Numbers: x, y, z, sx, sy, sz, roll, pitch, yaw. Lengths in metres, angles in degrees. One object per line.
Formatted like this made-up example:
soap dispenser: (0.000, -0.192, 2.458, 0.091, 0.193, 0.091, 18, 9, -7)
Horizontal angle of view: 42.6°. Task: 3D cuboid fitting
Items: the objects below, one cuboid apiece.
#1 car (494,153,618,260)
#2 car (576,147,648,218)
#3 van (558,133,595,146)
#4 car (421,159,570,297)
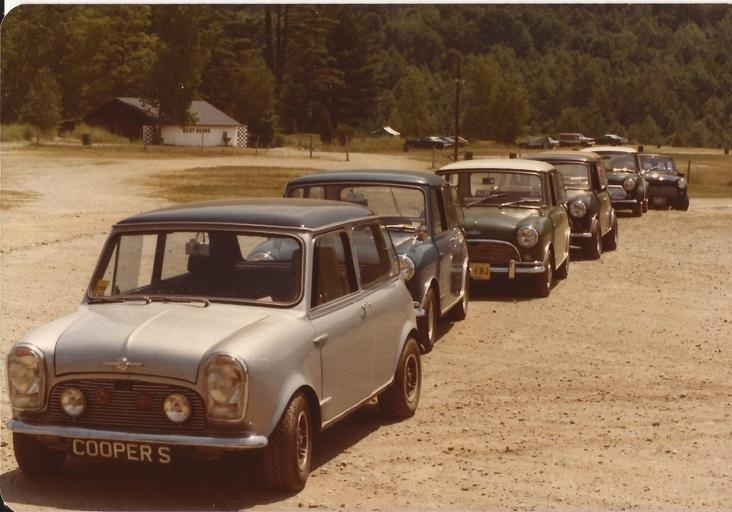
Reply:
car: (3.539, -0.914, 17.641, 1.802, 1.868, 3.577, 0, 4, 12)
car: (7.579, -2.203, 27.971, 1.579, 1.471, 3.016, -1, 3, 9)
van: (22.813, -12.414, 101.764, 3.548, 1.675, 2.143, 1, 10, 15)
car: (2.092, -0.446, 15.298, 1.931, 1.858, 3.826, -1, 2, 9)
